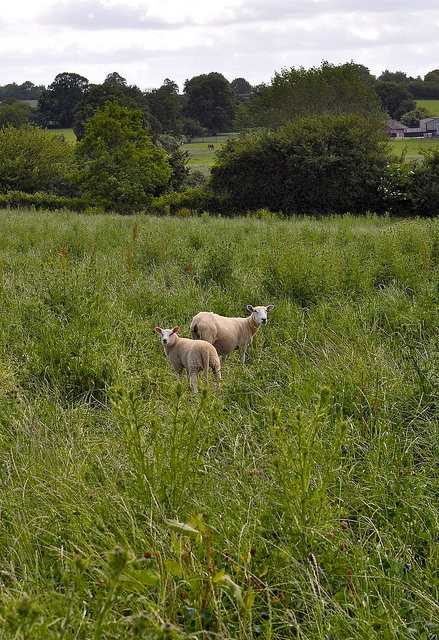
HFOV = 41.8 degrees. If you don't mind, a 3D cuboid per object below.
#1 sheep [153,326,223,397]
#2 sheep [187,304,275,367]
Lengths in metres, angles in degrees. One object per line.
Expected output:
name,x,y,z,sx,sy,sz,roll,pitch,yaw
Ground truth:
sheep,-0.252,0.297,4.325,0.198,0.441,0.598,-8,10,-36
sheep,0.107,0.135,4.776,0.642,0.561,0.311,2,-1,-13
